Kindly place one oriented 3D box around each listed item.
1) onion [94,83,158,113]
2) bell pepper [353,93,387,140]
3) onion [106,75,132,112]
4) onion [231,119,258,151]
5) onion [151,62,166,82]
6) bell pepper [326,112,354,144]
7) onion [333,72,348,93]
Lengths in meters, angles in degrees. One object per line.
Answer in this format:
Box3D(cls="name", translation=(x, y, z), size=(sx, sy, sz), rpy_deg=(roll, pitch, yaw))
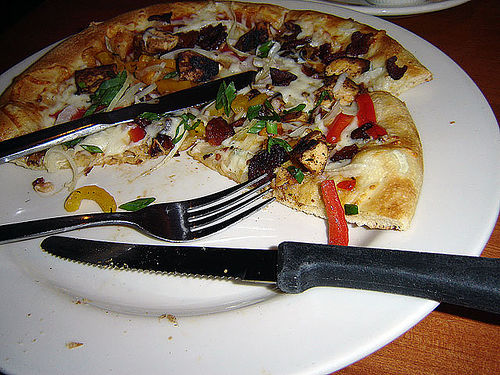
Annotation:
Box3D(cls="onion", translation=(-0.948, -0.676, 3.418), size=(0.516, 0.052, 0.054), rpy_deg=(-29, 68, -14))
Box3D(cls="bell pepper", translation=(0.826, -0.511, 3.115), size=(0.296, 0.218, 0.069), rpy_deg=(65, 6, 14))
Box3D(cls="onion", translation=(-0.996, -0.727, 3.470), size=(0.188, 0.245, 0.200), rpy_deg=(16, 28, 32))
Box3D(cls="onion", translation=(-0.031, -0.406, 3.331), size=(0.062, 0.197, 0.218), rpy_deg=(39, 31, -18))
Box3D(cls="onion", translation=(-0.721, -0.902, 3.524), size=(0.055, 0.202, 0.030), rpy_deg=(47, 3, 2))
Box3D(cls="bell pepper", translation=(0.610, -0.414, 3.176), size=(0.086, 0.233, 0.161), rpy_deg=(42, 8, 28))
Box3D(cls="onion", translation=(0.651, -0.763, 3.273), size=(0.066, 0.150, 0.153), rpy_deg=(8, 13, 18))
